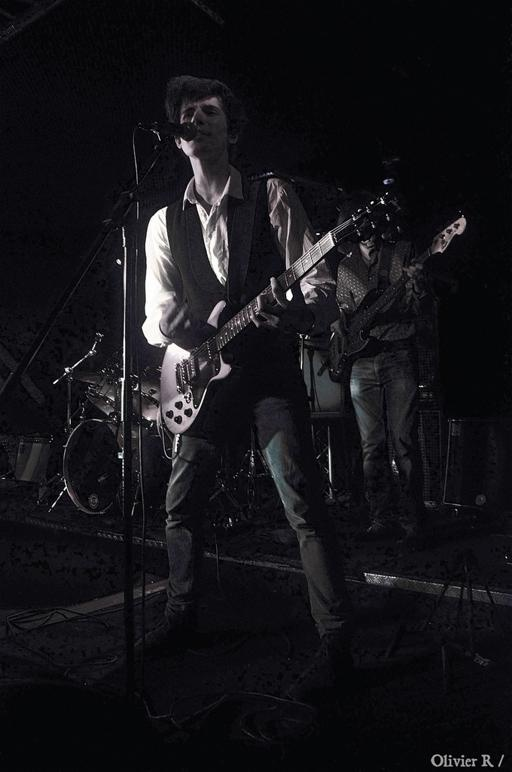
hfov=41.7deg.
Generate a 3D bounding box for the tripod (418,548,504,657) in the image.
[{"bbox_3d":[0.629,0.668,2.128,0.196,0.045,0.346,-3,42,19],"label":"tripod"}]

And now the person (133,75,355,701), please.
[{"bbox_3d":[-0.097,-0.078,2.131,0.881,1.879,0.458,0,7,36],"label":"person"}]

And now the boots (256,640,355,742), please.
[{"bbox_3d":[0.114,0.783,1.787,0.159,0.156,0.344,1,8,41],"label":"boots"}]

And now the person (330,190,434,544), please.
[{"bbox_3d":[0.617,-0.054,3.363,0.572,1.524,0.172,-20,-31,37],"label":"person"}]

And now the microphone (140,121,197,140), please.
[{"bbox_3d":[-0.244,-0.701,1.905,0.052,0.058,0.198,22,21,25],"label":"microphone"}]
